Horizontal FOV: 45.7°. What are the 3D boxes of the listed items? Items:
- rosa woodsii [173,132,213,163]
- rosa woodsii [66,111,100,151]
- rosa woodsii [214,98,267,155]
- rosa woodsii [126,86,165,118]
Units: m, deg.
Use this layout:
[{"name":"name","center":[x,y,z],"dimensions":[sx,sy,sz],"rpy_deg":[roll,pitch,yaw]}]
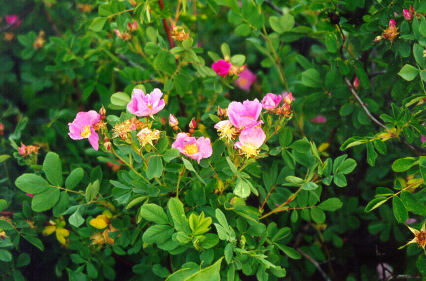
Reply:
[{"name":"rosa woodsii","center":[-0.075,0.025,1.973],"dimensions":[0.120,0.120,0.048],"rpy_deg":[-44,-17,-49]},{"name":"rosa woodsii","center":[-0.507,-0.033,2.049],"dimensions":[0.139,0.169,0.138],"rpy_deg":[-17,3,-13]},{"name":"rosa woodsii","center":[0.120,-0.055,1.984],"dimensions":[0.183,0.225,0.101],"rpy_deg":[1,-2,-3]},{"name":"rosa woodsii","center":[-0.265,-0.145,1.983],"dimensions":[0.111,0.123,0.071],"rpy_deg":[-24,-36,-27]}]
